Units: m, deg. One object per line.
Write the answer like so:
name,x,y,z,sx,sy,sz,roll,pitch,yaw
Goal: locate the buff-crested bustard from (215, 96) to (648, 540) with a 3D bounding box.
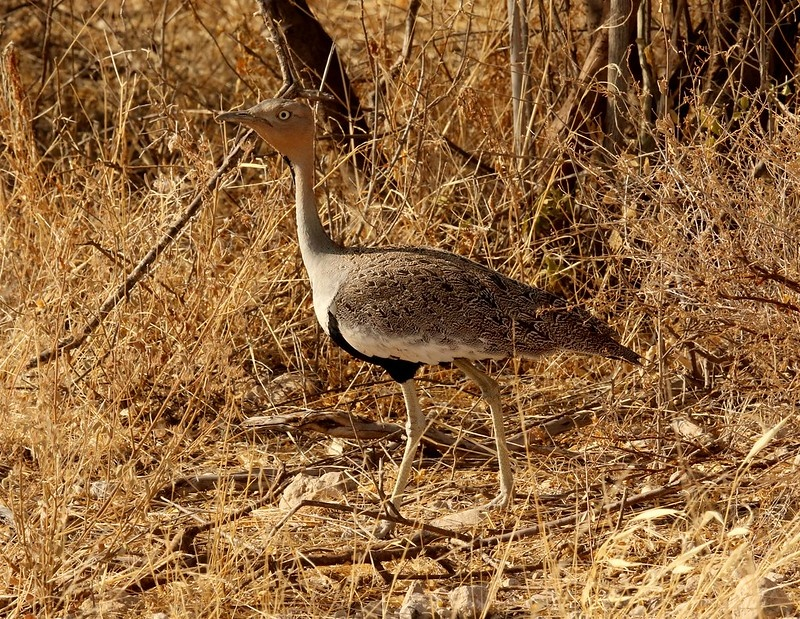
buff-crested bustard,0.130,-0.019,3.944,1.679,1.692,0.573,-2,11,15
